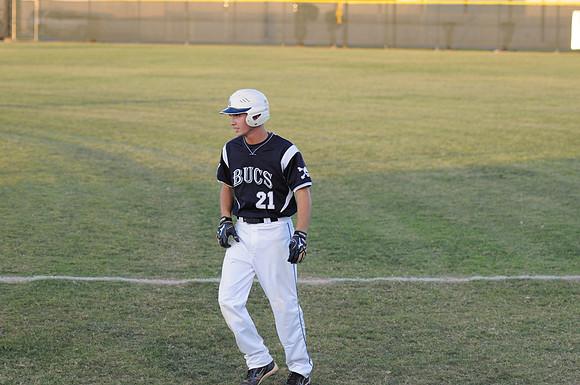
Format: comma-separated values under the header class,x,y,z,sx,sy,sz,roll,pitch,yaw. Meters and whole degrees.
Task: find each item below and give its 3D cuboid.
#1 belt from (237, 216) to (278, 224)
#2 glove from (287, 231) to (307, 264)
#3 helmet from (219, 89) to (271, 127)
class,x,y,z,sx,sy,sz,roll,pitch,yaw
belt,-0.467,0.418,16.054,0.583,0.096,0.100,2,9,1
glove,0.086,0.805,16.031,0.231,0.489,0.164,2,10,3
helmet,-0.666,-1.199,16.091,0.720,0.447,0.501,-2,7,-9
